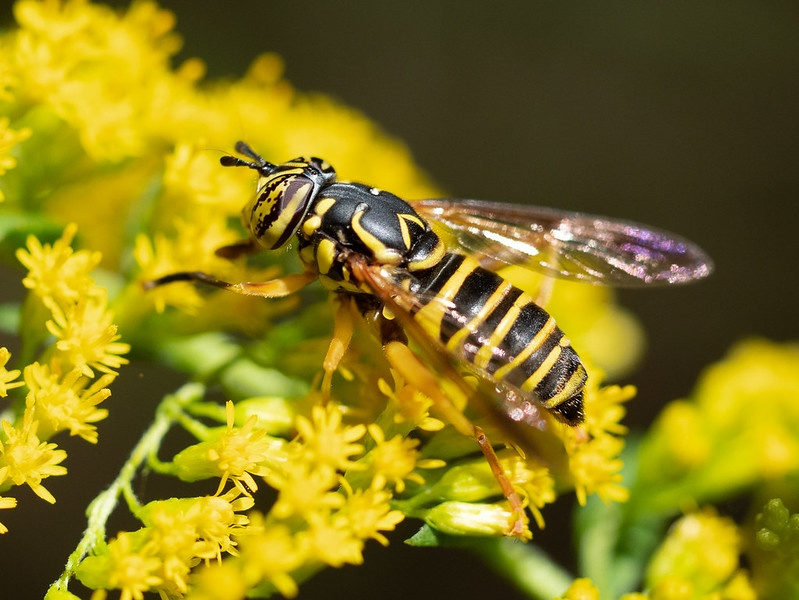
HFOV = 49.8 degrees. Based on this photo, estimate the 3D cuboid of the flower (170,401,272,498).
[{"bbox_3d":[-0.268,0.234,1.334,0.149,0.125,0.075,25,-32,10],"label":"flower"}]
